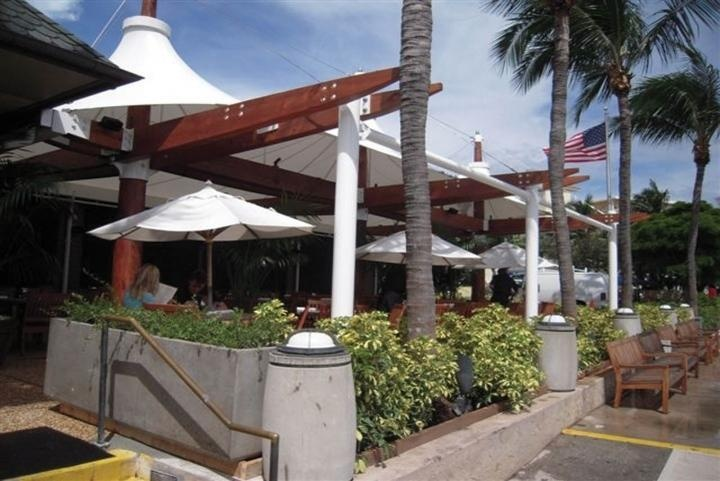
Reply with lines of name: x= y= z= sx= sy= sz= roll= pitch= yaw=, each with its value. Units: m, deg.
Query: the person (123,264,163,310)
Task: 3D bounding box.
person: x=-3.201 y=0.704 z=8.936 sx=0.442 sy=0.696 sz=0.297 roll=29 pitch=-17 yaw=-17
